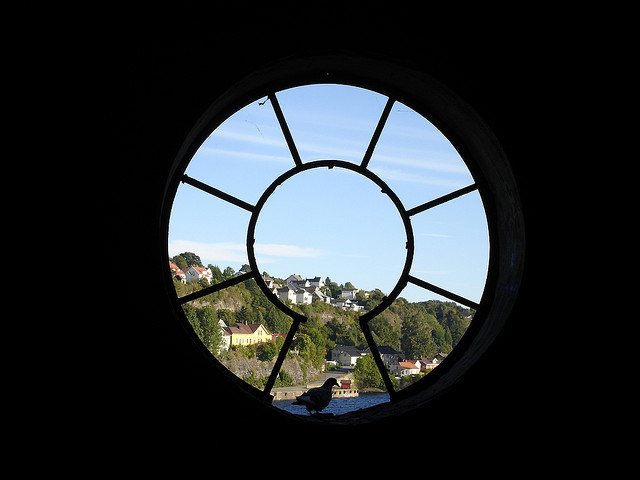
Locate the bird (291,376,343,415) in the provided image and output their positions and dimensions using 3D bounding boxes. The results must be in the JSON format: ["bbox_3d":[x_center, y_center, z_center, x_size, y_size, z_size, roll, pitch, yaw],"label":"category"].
[{"bbox_3d":[-0.017,0.671,2.927,0.200,0.112,0.178,9,-109,-20],"label":"bird"}]
